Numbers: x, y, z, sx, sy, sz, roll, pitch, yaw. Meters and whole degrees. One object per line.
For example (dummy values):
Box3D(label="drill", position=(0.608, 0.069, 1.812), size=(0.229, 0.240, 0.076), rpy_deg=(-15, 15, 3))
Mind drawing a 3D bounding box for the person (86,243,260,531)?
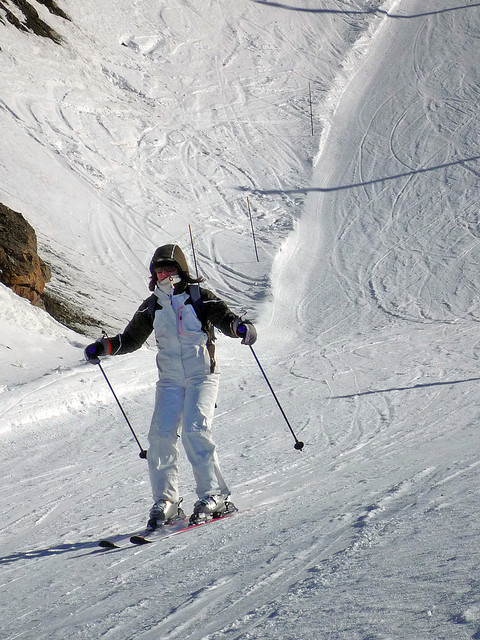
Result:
Box3D(label="person", position=(-0.364, 0.350, 4.265), size=(0.610, 1.437, 0.737), rpy_deg=(0, 0, -38))

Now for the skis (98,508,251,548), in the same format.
Box3D(label="skis", position=(-0.365, 1.188, 3.933), size=(0.866, 0.138, 0.223), rpy_deg=(0, 0, -31))

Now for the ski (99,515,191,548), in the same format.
Box3D(label="ski", position=(-0.535, 1.186, 3.931), size=(0.222, 0.118, 0.575), rpy_deg=(-1, 0, 33))

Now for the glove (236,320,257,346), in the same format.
Box3D(label="glove", position=(0.028, 0.079, 4.174), size=(0.106, 0.070, 0.156), rpy_deg=(-30, -3, -20))

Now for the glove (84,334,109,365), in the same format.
Box3D(label="glove", position=(-0.921, 0.185, 4.524), size=(0.137, 0.154, 0.379), rpy_deg=(0, 0, -12))
